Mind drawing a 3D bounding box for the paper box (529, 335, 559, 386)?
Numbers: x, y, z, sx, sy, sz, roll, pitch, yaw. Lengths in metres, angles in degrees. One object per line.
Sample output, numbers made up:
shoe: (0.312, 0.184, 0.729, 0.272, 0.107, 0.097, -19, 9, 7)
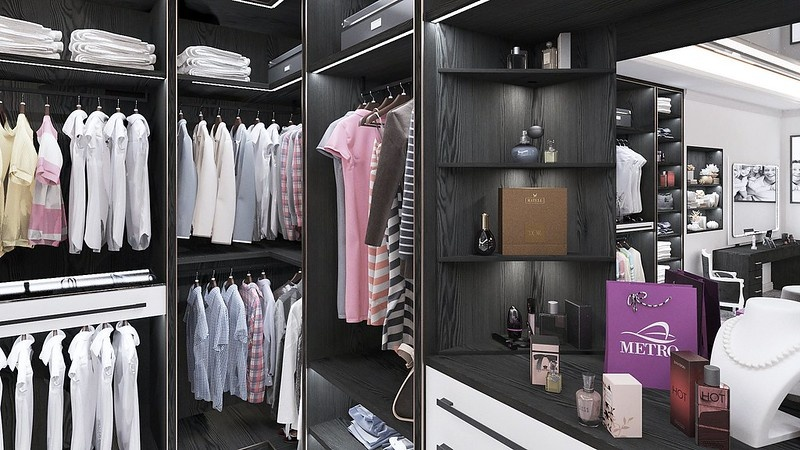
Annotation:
paper box: (0.725, 0.685, 2.577, 0.134, 0.245, 0.079, 1, 4, 12)

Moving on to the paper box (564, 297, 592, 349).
paper box: (0.969, 0.549, 2.788, 0.097, 0.265, 0.282, -1, 0, -13)

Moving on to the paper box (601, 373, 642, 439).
paper box: (1.011, 0.822, 2.322, 0.173, 0.265, 0.103, 1, 5, 21)

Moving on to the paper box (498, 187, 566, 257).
paper box: (0.727, -0.020, 2.775, 0.414, 0.354, 0.128, 0, -1, -1)

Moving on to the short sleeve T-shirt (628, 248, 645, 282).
short sleeve T-shirt: (1.194, 0.197, 2.584, 0.038, 0.166, 0.106, -1, 4, -9)
